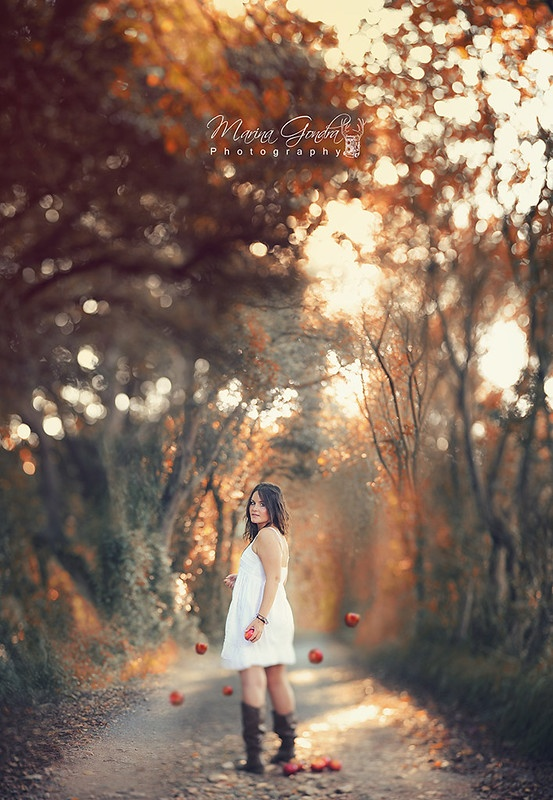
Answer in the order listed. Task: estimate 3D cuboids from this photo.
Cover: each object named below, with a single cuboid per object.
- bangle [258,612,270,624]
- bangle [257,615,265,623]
[{"bbox_3d":[-0.098,1.419,5.195,0.024,0.079,0.045,-49,-1,-23],"label":"bangle"},{"bbox_3d":[-0.102,1.422,5.199,0.022,0.060,0.044,-42,4,-19],"label":"bangle"}]
